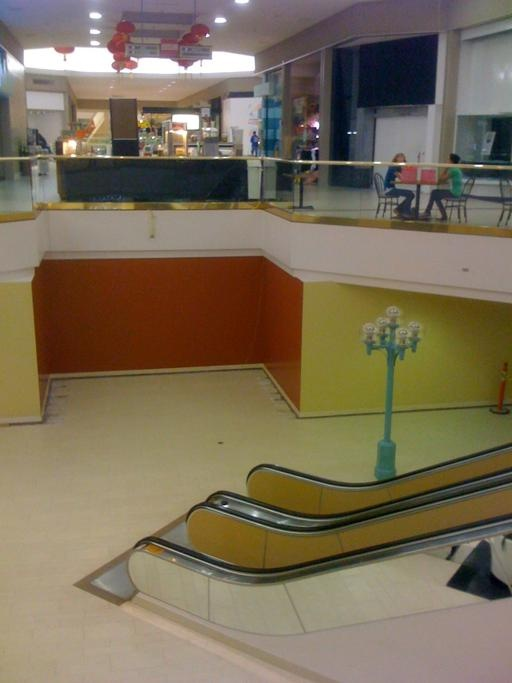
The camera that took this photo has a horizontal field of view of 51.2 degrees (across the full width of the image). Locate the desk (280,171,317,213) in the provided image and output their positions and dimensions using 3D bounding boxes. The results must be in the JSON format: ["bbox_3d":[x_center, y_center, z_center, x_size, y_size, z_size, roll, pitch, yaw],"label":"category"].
[{"bbox_3d":[0.701,-2.426,8.560,0.502,0.514,0.534,1,44,2],"label":"desk"}]

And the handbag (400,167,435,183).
[{"bbox_3d":[2.204,-2.239,7.354,0.419,0.244,0.278,8,8,17],"label":"handbag"}]

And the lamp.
[{"bbox_3d":[1.812,0.694,7.301,0.741,2.351,2.921,2,10,15],"label":"lamp"}]

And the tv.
[{"bbox_3d":[3.554,-6.733,13.165,0.251,1.277,1.893,-15,28,-27],"label":"tv"}]
